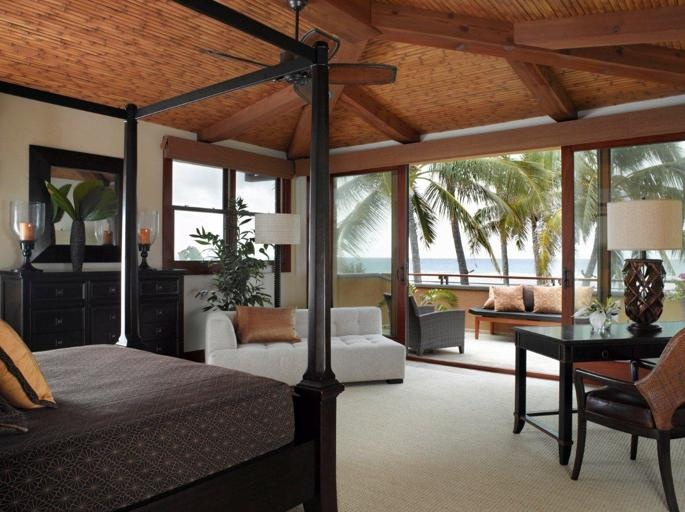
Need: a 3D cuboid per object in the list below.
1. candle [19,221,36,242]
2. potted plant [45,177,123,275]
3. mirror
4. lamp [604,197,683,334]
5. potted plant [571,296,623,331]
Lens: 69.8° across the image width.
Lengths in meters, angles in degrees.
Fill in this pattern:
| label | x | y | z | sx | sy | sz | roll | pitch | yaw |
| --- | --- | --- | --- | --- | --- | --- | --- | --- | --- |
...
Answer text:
| label | x | y | z | sx | sy | sz | roll | pitch | yaw |
| --- | --- | --- | --- | --- | --- | --- | --- | --- | --- |
| candle | -2.805 | -0.234 | 4.422 | 0.158 | 0.163 | 0.150 | 2 | -2 | -25 |
| potted plant | -2.881 | -0.290 | 5.401 | 0.988 | 0.957 | 0.876 | -5 | -4 | 36 |
| mirror | -2.712 | -0.343 | 5.096 | 0.833 | 0.805 | 0.692 | 12 | -20 | -39 |
| lamp | 2.309 | 0.066 | 3.783 | 0.454 | 1.020 | 0.432 | 3 | 3 | 44 |
| potted plant | 2.346 | 0.520 | 4.510 | 0.362 | 0.230 | 0.387 | -5 | -8 | 33 |
